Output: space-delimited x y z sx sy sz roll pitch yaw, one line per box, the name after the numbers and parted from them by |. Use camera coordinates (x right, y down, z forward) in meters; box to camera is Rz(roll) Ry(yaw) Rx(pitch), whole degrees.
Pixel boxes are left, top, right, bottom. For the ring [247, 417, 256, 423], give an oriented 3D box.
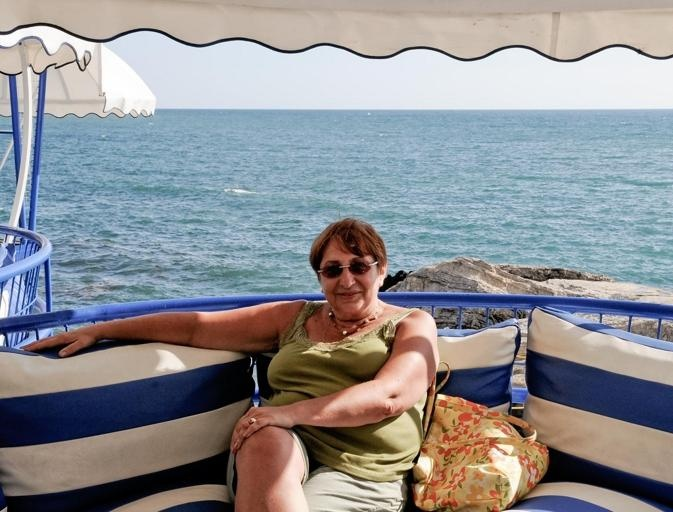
-0.425 0.831 3.881 0.036 0.031 0.025 2 -3 -7 | ring
